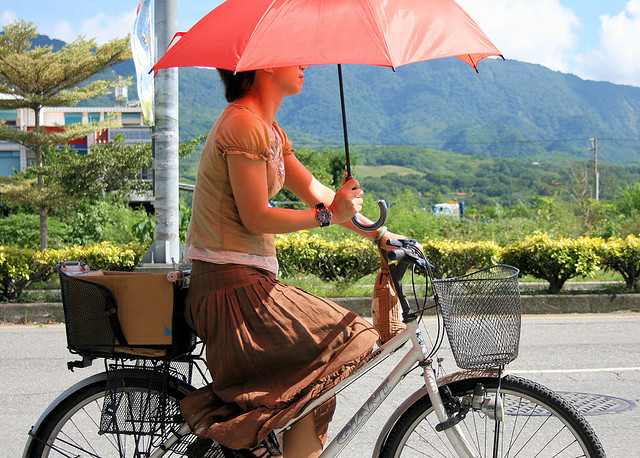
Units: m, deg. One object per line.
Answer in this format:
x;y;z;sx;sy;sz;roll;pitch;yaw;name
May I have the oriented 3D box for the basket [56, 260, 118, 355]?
-2.192;0.741;9.061;0.607;0.832;0.204;-1;0;28;basket
